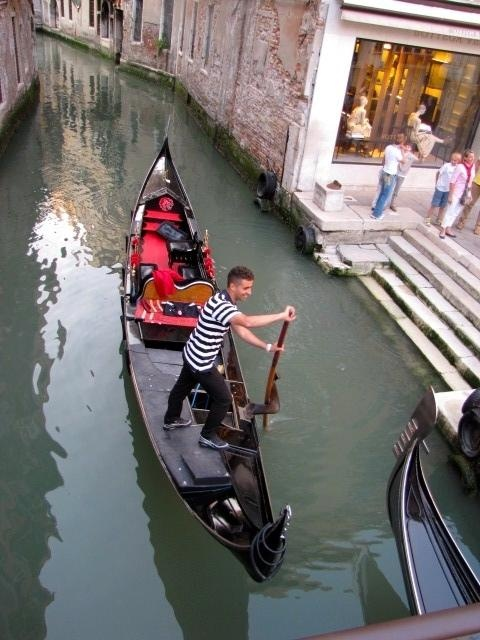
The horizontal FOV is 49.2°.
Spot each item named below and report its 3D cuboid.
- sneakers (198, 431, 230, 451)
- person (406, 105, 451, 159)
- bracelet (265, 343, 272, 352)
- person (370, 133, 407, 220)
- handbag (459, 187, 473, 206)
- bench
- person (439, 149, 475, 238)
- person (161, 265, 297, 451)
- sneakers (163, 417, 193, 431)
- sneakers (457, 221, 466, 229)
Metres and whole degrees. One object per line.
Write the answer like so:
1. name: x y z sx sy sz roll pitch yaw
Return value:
1. sneakers: -0.193 0.853 3.734 0.201 0.102 0.095 5 23 -2
2. person: 3.276 -3.260 9.152 0.698 0.927 0.352 -3 35 -5
3. bracelet: 0.196 0.196 3.546 0.043 0.067 0.023 8 14 0
4. person: 2.256 -2.150 7.951 0.296 1.296 0.740 16 28 12
5. handbag: 3.138 -1.717 7.286 0.112 0.229 0.059 3 32 -13
6. bench: -0.630 -0.285 5.519 0.844 0.390 0.709 10 1 -9
7. person: 3.133 -1.799 7.492 0.306 1.281 0.863 19 29 17
8. person: -0.094 0.259 3.481 0.730 1.223 0.417 9 19 7
9. sneakers: -0.456 0.758 3.812 0.224 0.104 0.080 -12 46 -18
10. sneakers: 3.475 -1.509 8.207 0.071 0.092 0.232 5 37 12
